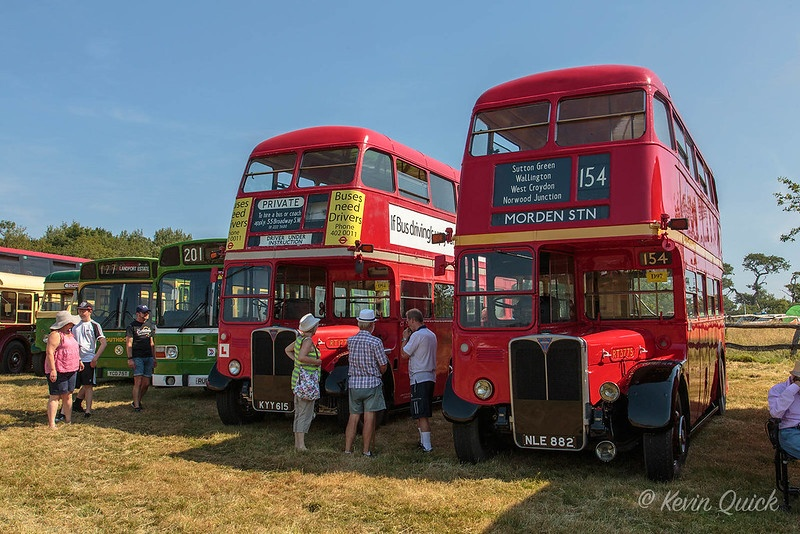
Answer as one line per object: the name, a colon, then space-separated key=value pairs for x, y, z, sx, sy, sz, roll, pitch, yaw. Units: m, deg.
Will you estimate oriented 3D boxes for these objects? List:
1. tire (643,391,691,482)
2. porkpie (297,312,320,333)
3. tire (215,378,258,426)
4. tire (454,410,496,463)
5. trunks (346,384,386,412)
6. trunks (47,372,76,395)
tire: x=4.145 y=2.684 z=9.698 sx=0.431 sy=1.129 sz=1.122 roll=-2 pitch=-25 yaw=36
porkpie: x=-1.705 y=1.069 z=11.618 sx=0.325 sy=0.331 sz=0.269 roll=0 pitch=-2 yaw=-8
tire: x=-3.560 y=2.933 z=13.548 sx=0.334 sy=0.969 sz=0.960 roll=-5 pitch=-22 yaw=17
tire: x=1.256 y=2.883 z=10.540 sx=0.325 sy=0.868 sz=0.864 roll=-6 pitch=-15 yaw=33
trunks: x=-0.641 y=2.465 z=11.605 sx=0.662 sy=0.627 sz=0.384 roll=7 pitch=31 yaw=30
trunks: x=-7.250 y=2.510 z=13.308 sx=0.329 sy=0.541 sz=0.557 roll=-4 pitch=-6 yaw=20
